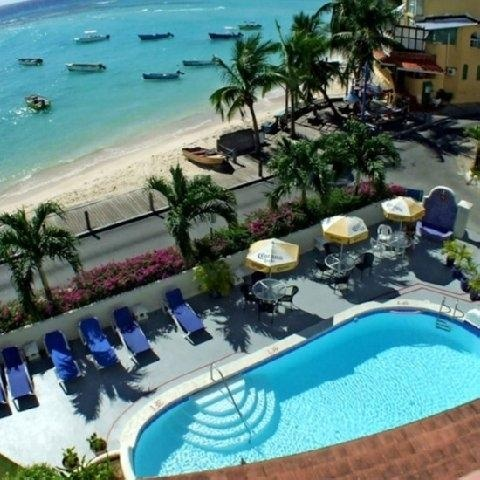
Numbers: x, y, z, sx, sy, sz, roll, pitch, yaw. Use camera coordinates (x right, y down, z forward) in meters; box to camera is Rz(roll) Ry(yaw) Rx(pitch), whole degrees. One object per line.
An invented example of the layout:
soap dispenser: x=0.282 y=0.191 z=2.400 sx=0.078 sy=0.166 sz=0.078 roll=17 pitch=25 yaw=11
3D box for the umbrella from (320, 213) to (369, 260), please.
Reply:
umbrella: x=4.098 y=-0.272 z=16.351 sx=1.312 sy=1.223 sz=1.373 roll=30 pitch=59 yaw=28

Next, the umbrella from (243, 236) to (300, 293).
umbrella: x=1.130 y=0.562 z=14.659 sx=1.811 sy=0.810 sz=1.178 roll=-5 pitch=29 yaw=1

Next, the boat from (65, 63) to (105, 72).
boat: x=-26.182 y=-29.434 z=71.938 sx=7.459 sy=1.436 sz=3.445 roll=16 pitch=35 yaw=35

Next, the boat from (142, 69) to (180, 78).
boat: x=-11.505 y=-25.306 z=64.479 sx=5.680 sy=1.083 sz=5.314 roll=-2 pitch=28 yaw=7

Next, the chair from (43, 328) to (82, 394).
chair: x=-5.488 y=3.658 z=12.992 sx=0.879 sy=0.761 sz=2.074 roll=-20 pitch=64 yaw=-26

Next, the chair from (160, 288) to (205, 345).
chair: x=-1.962 y=2.586 z=14.918 sx=0.871 sy=0.852 sz=2.288 roll=-25 pitch=55 yaw=-19

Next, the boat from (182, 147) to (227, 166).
boat: x=-2.423 y=-5.712 z=28.513 sx=1.458 sy=0.834 sz=3.661 roll=-39 pitch=41 yaw=-22
